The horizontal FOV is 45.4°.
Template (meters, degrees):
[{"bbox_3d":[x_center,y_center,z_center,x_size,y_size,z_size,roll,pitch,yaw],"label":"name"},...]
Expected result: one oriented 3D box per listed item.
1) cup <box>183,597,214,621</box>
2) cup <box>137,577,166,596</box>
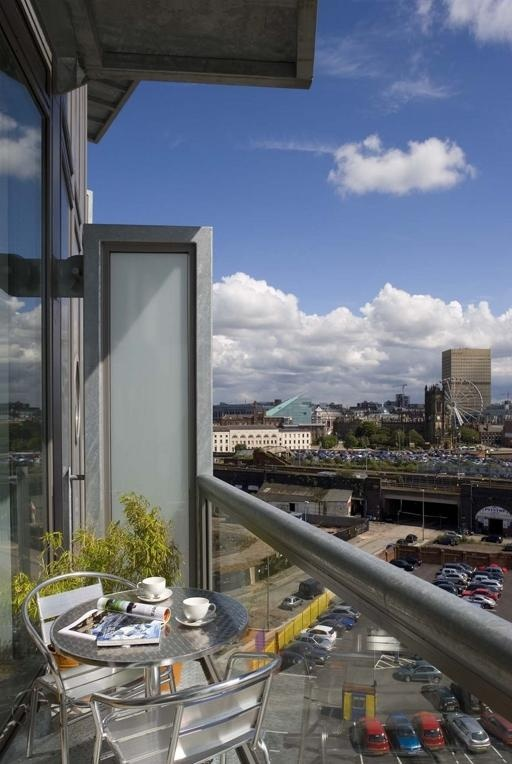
[{"bbox_3d":[-0.170,0.626,1.735,0.055,0.046,0.069,3,-6,-34],"label":"cup"},{"bbox_3d":[-0.342,0.634,1.950,0.090,0.061,0.074,-5,-1,7],"label":"cup"}]
